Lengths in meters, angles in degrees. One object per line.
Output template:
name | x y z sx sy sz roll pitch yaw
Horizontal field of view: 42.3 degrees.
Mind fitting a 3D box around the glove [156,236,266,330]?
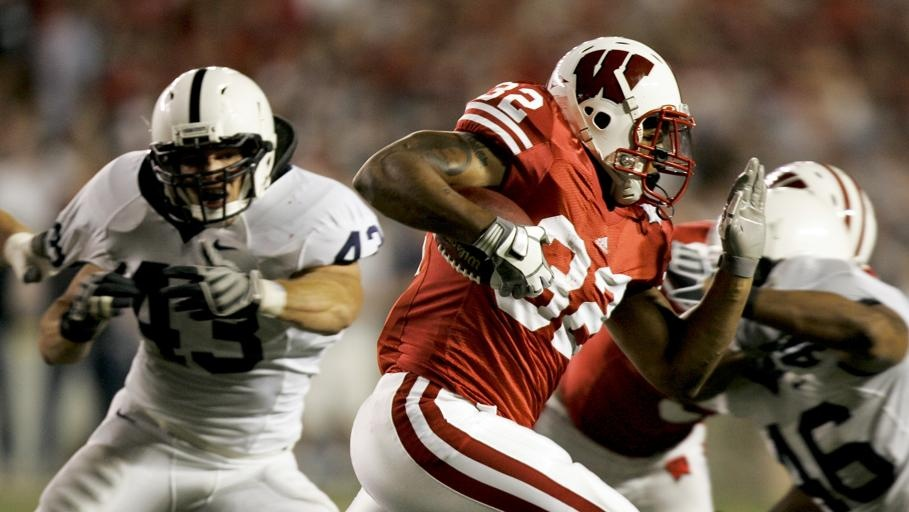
glove | -1.219 0.137 6.208 0.653 0.361 0.201 8 -25 20

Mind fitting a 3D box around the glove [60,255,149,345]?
glove | -1.887 0.241 6.278 0.339 0.465 0.278 14 -9 -20
